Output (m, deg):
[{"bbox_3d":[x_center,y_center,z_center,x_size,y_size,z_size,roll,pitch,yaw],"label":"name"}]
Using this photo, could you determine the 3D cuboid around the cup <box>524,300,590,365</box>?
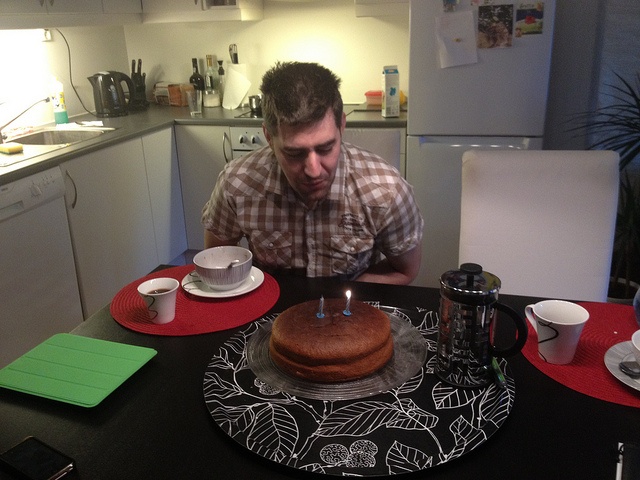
[{"bbox_3d":[0.532,0.205,0.994,0.099,0.113,0.145,-10,17,-16],"label":"cup"}]

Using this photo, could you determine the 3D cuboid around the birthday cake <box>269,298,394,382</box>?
[{"bbox_3d":[0.023,0.219,0.963,0.275,0.090,0.177,-4,23,-5],"label":"birthday cake"}]

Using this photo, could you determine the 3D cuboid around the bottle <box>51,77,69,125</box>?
[{"bbox_3d":[-1.887,-1.006,3.084,0.085,0.304,0.242,-14,24,-29],"label":"bottle"}]

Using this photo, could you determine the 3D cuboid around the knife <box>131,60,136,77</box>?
[{"bbox_3d":[-1.579,-1.454,3.632,0.031,0.125,0.173,-10,24,-20],"label":"knife"}]

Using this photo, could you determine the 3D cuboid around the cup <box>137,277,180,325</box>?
[{"bbox_3d":[-0.428,0.161,1.152,0.109,0.111,0.116,-1,20,0],"label":"cup"}]

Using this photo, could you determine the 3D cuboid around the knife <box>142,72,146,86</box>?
[{"bbox_3d":[-1.523,-1.397,3.711,0.024,0.098,0.210,-7,24,-14],"label":"knife"}]
